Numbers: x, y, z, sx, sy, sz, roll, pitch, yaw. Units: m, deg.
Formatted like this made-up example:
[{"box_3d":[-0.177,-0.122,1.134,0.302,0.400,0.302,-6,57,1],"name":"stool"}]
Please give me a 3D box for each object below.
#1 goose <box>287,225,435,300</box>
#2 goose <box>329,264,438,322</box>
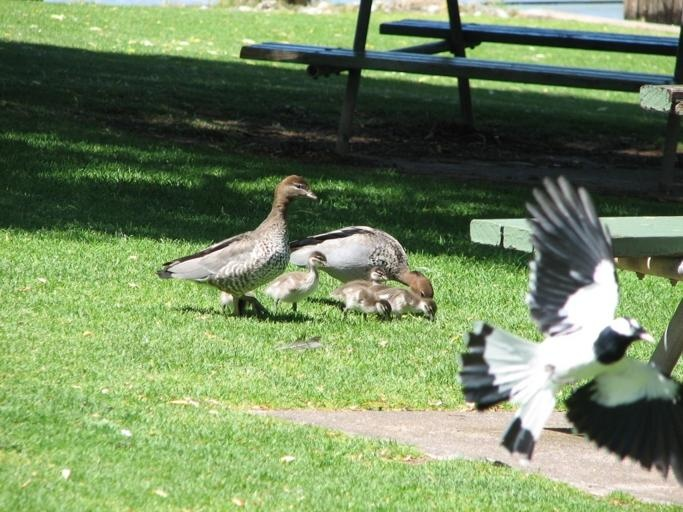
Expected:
[{"box_3d":[0.213,0.070,13.061,1.762,0.724,0.748,21,5,-6],"name":"goose"},{"box_3d":[0.505,0.504,12.529,0.755,0.353,1.070,-12,22,-44],"name":"goose"}]
